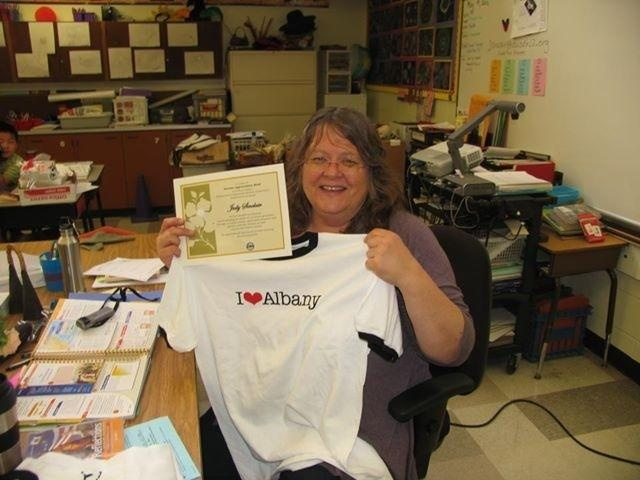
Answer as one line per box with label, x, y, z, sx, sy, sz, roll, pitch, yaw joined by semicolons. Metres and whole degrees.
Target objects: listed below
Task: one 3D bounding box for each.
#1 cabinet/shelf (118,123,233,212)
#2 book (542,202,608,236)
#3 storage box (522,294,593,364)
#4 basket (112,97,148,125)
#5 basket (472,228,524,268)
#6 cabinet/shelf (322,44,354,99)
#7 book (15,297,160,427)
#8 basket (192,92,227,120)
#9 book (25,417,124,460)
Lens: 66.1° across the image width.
cabinet/shelf;-1.453;-0.755;4.644;1.197;1.150;0.439;-5;17;-13
book;1.656;-0.145;3.167;0.260;0.084;0.268;-4;30;-8
storage box;1.613;0.603;3.287;0.355;0.551;0.181;7;-2;-2
basket;-2.276;-1.559;5.931;0.349;0.274;0.350;-1;16;-8
basket;1.016;0.032;2.791;0.234;0.169;0.133;-3;1;-6
cabinet/shelf;0.250;-2.383;6.880;0.494;0.834;0.622;-1;12;1
book;-0.814;0.399;1.733;0.420;0.190;0.585;-5;19;-4
basket;-1.371;-1.676;6.100;0.334;0.340;0.339;0;18;-1
book;-0.714;0.581;1.428;0.145;0.035;0.137;-1;9;-16
